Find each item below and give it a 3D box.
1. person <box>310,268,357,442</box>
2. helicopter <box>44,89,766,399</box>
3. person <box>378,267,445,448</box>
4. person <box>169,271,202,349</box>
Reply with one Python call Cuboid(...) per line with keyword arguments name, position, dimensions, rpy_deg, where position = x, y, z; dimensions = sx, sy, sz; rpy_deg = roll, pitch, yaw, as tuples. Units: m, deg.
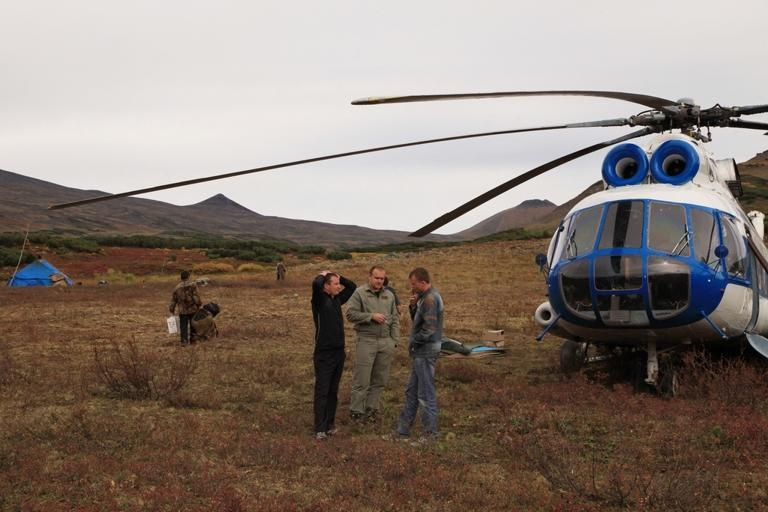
Cuboid(name="person", position=(-0.978, 1.727, 10.928), dimensions=(0.570, 2.791, 1.025), rpy_deg=(0, 7, -7))
Cuboid(name="helicopter", position=(4.082, -0.139, 10.923), dimensions=(4.207, 5.589, 11.025), rpy_deg=(7, 8, 42))
Cuboid(name="person", position=(0.825, 1.709, 10.960), dimensions=(0.977, 2.852, 1.182), rpy_deg=(5, -8, -16))
Cuboid(name="person", position=(-5.654, 1.432, 17.437), dimensions=(1.122, 1.972, 0.884), rpy_deg=(1, 0, -20))
